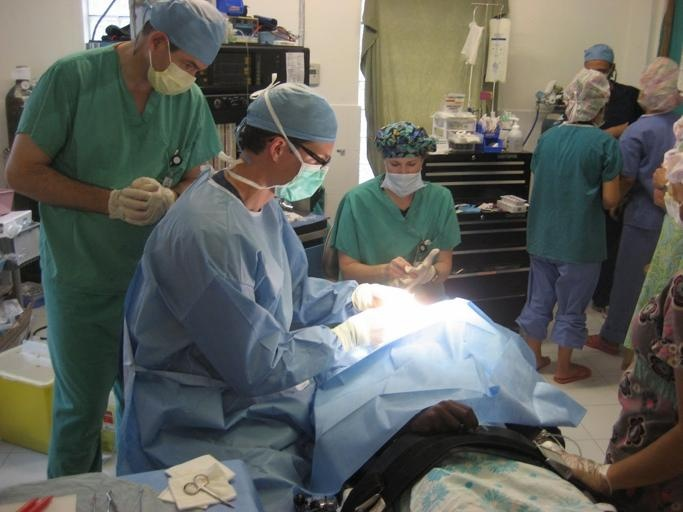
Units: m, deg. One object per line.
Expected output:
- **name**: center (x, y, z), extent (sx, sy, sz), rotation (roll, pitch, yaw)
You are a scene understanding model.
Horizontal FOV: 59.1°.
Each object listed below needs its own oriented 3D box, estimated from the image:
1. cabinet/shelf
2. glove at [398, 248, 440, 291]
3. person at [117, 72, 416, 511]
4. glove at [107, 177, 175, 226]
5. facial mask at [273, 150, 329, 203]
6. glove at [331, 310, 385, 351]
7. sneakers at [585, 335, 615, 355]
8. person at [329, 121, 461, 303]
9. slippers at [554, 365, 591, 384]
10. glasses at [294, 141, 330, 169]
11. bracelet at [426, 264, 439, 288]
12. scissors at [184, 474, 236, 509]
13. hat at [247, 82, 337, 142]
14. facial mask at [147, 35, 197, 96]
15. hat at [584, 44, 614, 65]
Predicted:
- **cabinet/shelf**: center (1.098, -0.173, 4.632), extent (0.792, 1.449, 0.749), rotation (-5, 23, 15)
- **glove**: center (0.390, 0.070, 3.089), extent (0.067, 0.144, 0.210), rotation (44, 24, 20)
- **person**: center (-0.384, 0.059, 2.105), extent (0.738, 1.268, 0.752), rotation (3, 15, 12)
- **glove**: center (-0.780, -0.230, 2.325), extent (0.209, 0.110, 0.162), rotation (26, 33, 31)
- **facial mask**: center (-0.151, -0.307, 2.252), extent (0.096, 0.173, 0.154), rotation (-13, 2, 29)
- **glove**: center (0.063, 0.280, 2.260), extent (0.175, 0.116, 0.070), rotation (-11, -14, -7)
- **sneakers**: center (1.824, 0.620, 4.236), extent (0.069, 0.088, 0.190), rotation (-29, 48, -34)
- **person**: center (0.314, -0.142, 3.259), extent (0.727, 1.162, 0.690), rotation (-2, 22, -6)
- **slippers**: center (1.497, 0.761, 3.967), extent (0.227, 0.151, 0.112), rotation (0, 13, -12)
- **glasses**: center (-0.105, -0.367, 2.166), extent (0.024, 0.088, 0.084), rotation (-41, 1, 4)
- **bracelet**: center (0.483, 0.102, 3.124), extent (0.050, 0.102, 0.070), rotation (-7, 12, 24)
- **scissors**: center (-0.373, 0.646, 1.665), extent (0.117, 0.018, 0.068), rotation (27, 17, 23)
- **hat**: center (-0.201, -0.512, 2.207), extent (0.344, 0.188, 0.244), rotation (8, 6, 13)
- **facial mask**: center (-0.671, -0.742, 2.389), extent (0.101, 0.161, 0.148), rotation (-10, 6, 4)
- **hat**: center (1.912, -1.493, 4.525), extent (0.185, 0.129, 0.186), rotation (-20, 41, -34)
